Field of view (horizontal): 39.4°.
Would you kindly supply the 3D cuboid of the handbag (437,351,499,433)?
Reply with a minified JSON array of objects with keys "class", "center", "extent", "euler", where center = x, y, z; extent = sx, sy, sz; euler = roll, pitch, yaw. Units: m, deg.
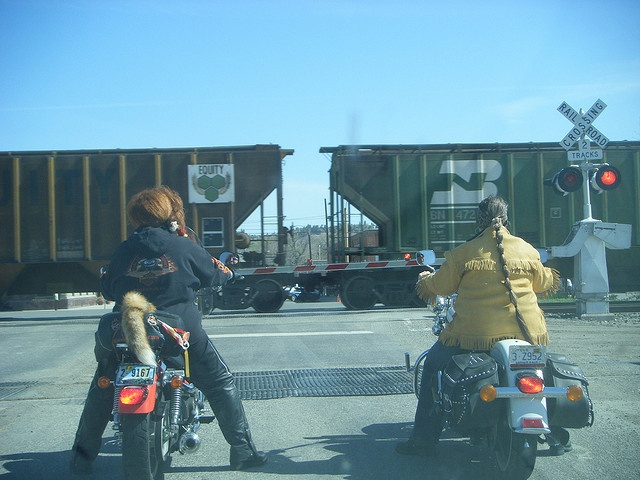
[{"class":"handbag","center":[1.731,1.692,10.243],"extent":[0.680,1.073,0.973],"euler":[2,-6,0]}]

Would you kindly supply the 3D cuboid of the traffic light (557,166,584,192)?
[{"class":"traffic light","center":[5.074,-1.203,18.069],"extent":[0.416,0.683,0.712],"euler":[-3,2,8]}]

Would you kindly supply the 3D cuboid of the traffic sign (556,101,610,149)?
[{"class":"traffic sign","center":[5.306,-2.283,17.950],"extent":[0.884,0.889,0.631],"euler":[-2,0,23]}]

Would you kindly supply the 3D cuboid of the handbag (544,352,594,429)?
[{"class":"handbag","center":[2.702,1.699,10.103],"extent":[0.528,0.747,0.754],"euler":[1,7,10]}]

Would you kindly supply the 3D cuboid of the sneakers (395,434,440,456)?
[{"class":"sneakers","center":[1.119,2.398,10.522],"extent":[0.439,0.236,0.206],"euler":[2,6,10]}]
